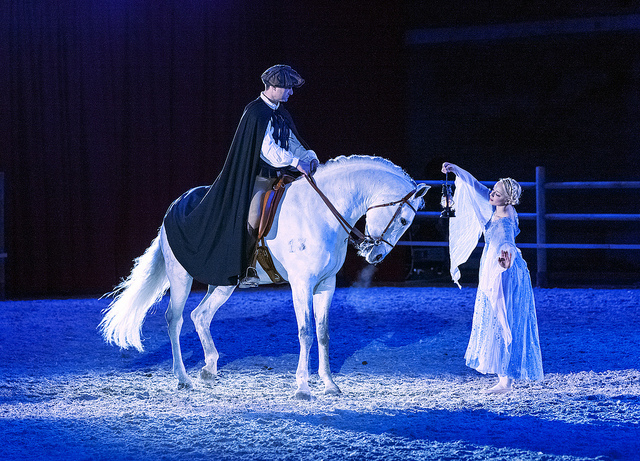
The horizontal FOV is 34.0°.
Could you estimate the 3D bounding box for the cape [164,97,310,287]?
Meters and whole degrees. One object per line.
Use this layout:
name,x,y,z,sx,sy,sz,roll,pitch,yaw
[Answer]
cape,-0.831,-0.351,10.342,1.204,1.925,1.356,4,21,-25

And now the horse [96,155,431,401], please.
horse,-0.658,0.508,10.394,3.730,2.377,0.903,-2,-8,28

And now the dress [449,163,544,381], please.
dress,1.777,0.410,10.325,0.978,2.090,0.828,3,12,19
